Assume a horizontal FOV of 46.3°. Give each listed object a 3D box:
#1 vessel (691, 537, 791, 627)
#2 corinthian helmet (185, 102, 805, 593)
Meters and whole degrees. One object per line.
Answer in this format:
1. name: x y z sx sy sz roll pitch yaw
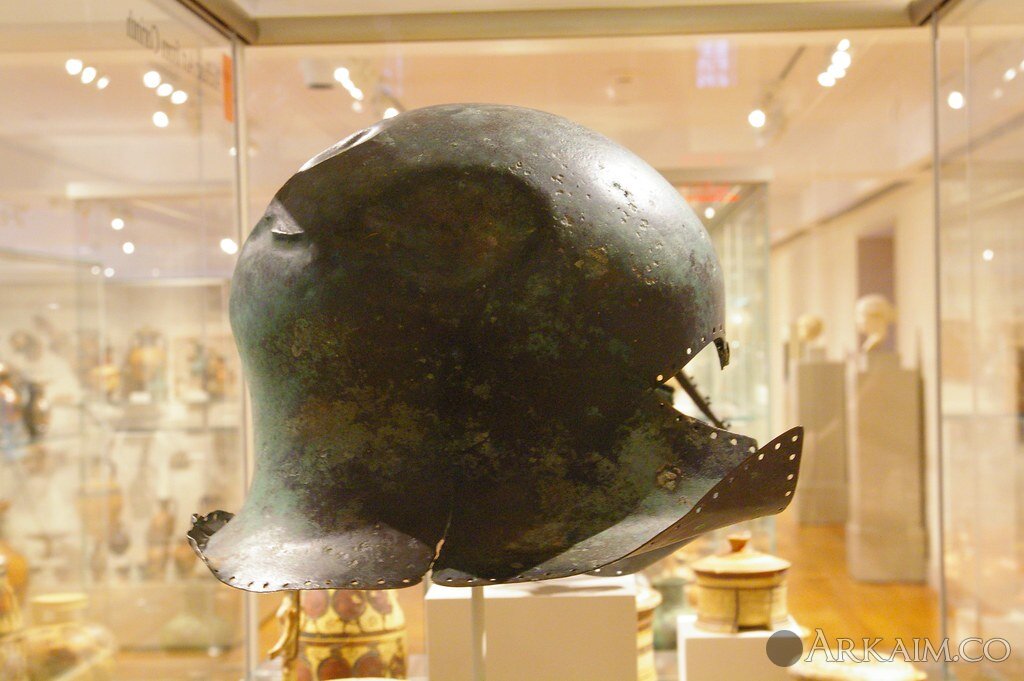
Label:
1. vessel: 0.938 0.996 4.848 0.430 0.337 0.400 -2 -6 8
2. corinthian helmet: -0.062 -0.004 3.770 2.056 1.278 1.352 -2 7 -1
